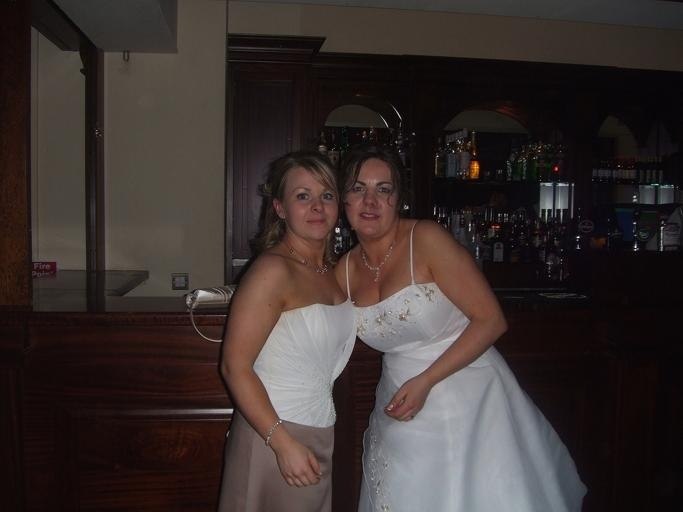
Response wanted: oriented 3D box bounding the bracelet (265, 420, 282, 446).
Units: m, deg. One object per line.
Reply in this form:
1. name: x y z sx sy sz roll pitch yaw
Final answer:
1. bracelet: -0.289 0.723 2.391 0.073 0.103 0.028 30 -9 -41

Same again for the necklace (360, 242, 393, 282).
1. necklace: 0.170 0.030 2.880 0.133 0.174 0.168 0 13 8
